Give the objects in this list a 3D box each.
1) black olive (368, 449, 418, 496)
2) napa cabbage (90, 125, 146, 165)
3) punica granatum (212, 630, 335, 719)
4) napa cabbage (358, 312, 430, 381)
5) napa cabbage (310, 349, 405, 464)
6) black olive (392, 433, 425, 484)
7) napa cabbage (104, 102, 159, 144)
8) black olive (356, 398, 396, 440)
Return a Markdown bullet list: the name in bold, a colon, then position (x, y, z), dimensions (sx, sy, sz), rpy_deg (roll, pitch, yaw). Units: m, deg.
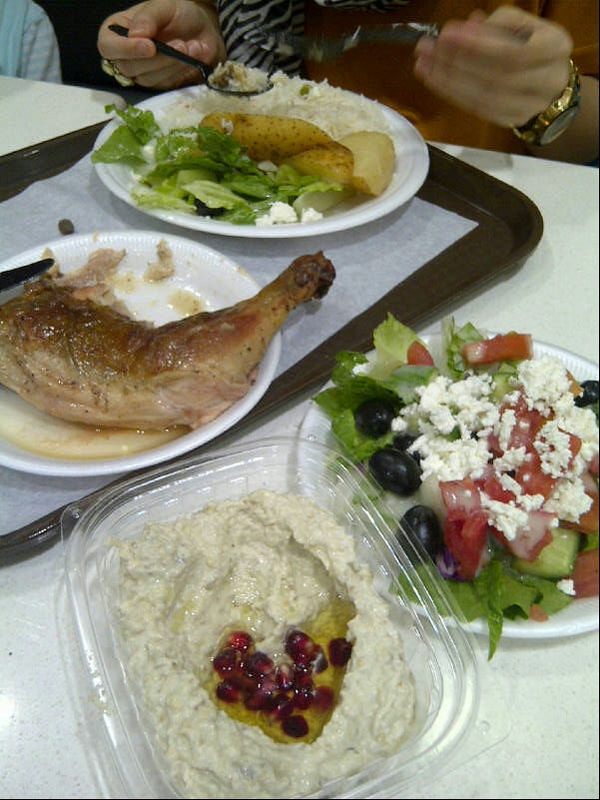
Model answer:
- **black olive**: position (0.146, 0.110, 1.160), dimensions (0.086, 0.049, 0.061), rpy_deg (31, 70, 23)
- **napa cabbage**: position (-0.464, -0.651, 1.784), dimensions (0.133, 0.049, 0.118), rpy_deg (29, 60, 17)
- **punica granatum**: position (-0.037, 0.387, 0.969), dimensions (0.101, 0.046, 0.137), rpy_deg (-17, 34, -41)
- **napa cabbage**: position (0.180, -0.091, 1.272), dimensions (0.150, 0.106, 0.103), rpy_deg (22, 32, 37)
- **napa cabbage**: position (0.102, 0.021, 1.236), dimensions (0.124, 0.161, 0.169), rpy_deg (-26, 41, -36)
- **black olive**: position (0.180, 0.090, 1.163), dimensions (0.035, 0.031, 0.064), rpy_deg (-24, 80, 2)
- **napa cabbage**: position (-0.440, -0.745, 1.824), dimensions (0.148, 0.034, 0.084), rpy_deg (32, 58, 17)
- **black olive**: position (0.124, 0.030, 1.173), dimensions (0.064, 0.039, 0.068), rpy_deg (-7, 56, -4)
